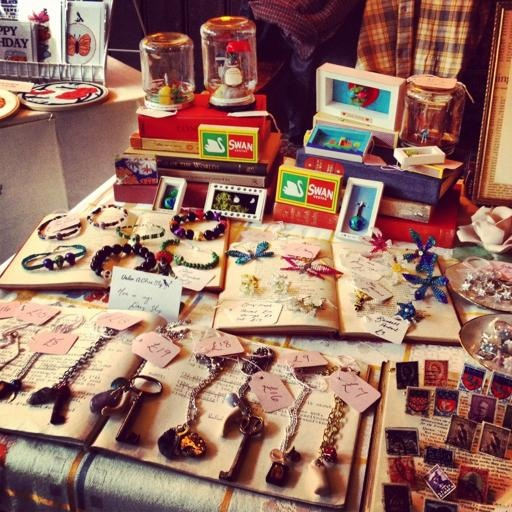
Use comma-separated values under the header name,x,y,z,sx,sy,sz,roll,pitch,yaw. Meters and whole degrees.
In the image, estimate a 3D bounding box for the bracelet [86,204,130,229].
name,x,y,z,sx,sy,sz,roll,pitch,yaw
bracelet,-0.484,-0.142,1.518,0.127,0.039,0.202,-1,24,-7

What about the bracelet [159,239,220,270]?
name,x,y,z,sx,sy,sz,roll,pitch,yaw
bracelet,-0.198,0.000,1.331,0.153,0.030,0.088,13,33,15

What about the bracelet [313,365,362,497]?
name,x,y,z,sx,sy,sz,roll,pitch,yaw
bracelet,0.152,0.340,0.826,0.040,0.036,0.183,11,34,20

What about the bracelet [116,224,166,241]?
name,x,y,z,sx,sy,sz,roll,pitch,yaw
bracelet,-0.356,-0.075,1.424,0.138,0.026,0.116,-13,27,-31

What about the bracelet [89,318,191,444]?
name,x,y,z,sx,sy,sz,roll,pitch,yaw
bracelet,-0.236,0.227,0.930,0.089,0.050,0.236,9,29,6

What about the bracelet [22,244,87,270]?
name,x,y,z,sx,sy,sz,roll,pitch,yaw
bracelet,-0.559,0.005,1.287,0.121,0.037,0.168,21,30,37

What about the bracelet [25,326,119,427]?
name,x,y,z,sx,sy,sz,roll,pitch,yaw
bracelet,-0.358,0.240,0.943,0.065,0.026,0.172,13,29,12

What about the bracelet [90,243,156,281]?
name,x,y,z,sx,sy,sz,roll,pitch,yaw
bracelet,-0.376,0.019,1.345,0.225,0.061,0.206,-4,3,12

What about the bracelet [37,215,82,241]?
name,x,y,z,sx,sy,sz,roll,pitch,yaw
bracelet,-0.609,-0.092,1.425,0.134,0.037,0.158,-7,25,-19

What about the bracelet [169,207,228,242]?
name,x,y,z,sx,sy,sz,roll,pitch,yaw
bracelet,-0.177,-0.101,1.459,0.172,0.063,0.147,10,25,18
